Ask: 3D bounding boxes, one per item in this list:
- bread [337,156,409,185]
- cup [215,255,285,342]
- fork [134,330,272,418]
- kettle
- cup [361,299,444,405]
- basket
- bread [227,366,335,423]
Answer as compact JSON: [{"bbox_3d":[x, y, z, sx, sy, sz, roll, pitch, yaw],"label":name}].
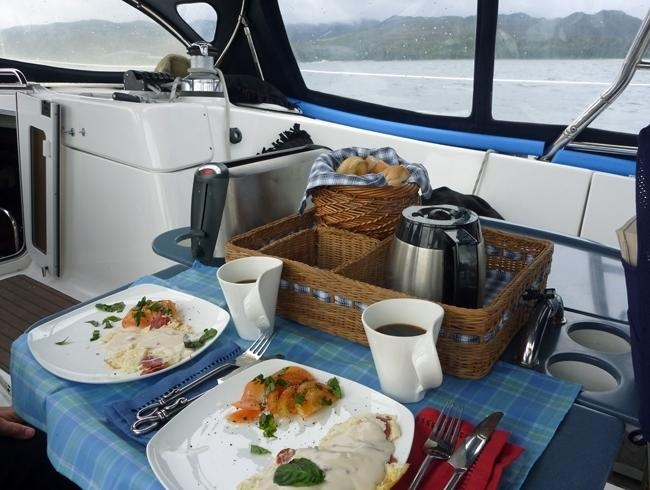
[{"bbox_3d":[0.109,-0.174,0.896,0.085,0.037,0.105,20,29,38],"label":"bread"},{"bbox_3d":[-0.146,0.080,0.754,0.110,0.100,0.148,-8,24,-15],"label":"cup"},{"bbox_3d":[-0.179,0.186,0.611,0.195,0.020,0.024,-23,36,-34],"label":"fork"},{"bbox_3d":[0.173,0.007,0.766,0.148,0.168,0.175,-9,26,-17],"label":"kettle"},{"bbox_3d":[0.094,0.150,0.634,0.118,0.098,0.147,-9,23,-8],"label":"cup"},{"bbox_3d":[0.080,0.048,0.766,0.503,0.123,0.383,14,29,30],"label":"basket"},{"bbox_3d":[-0.052,0.197,0.564,0.096,0.023,0.064,-8,30,-26],"label":"bread"}]
